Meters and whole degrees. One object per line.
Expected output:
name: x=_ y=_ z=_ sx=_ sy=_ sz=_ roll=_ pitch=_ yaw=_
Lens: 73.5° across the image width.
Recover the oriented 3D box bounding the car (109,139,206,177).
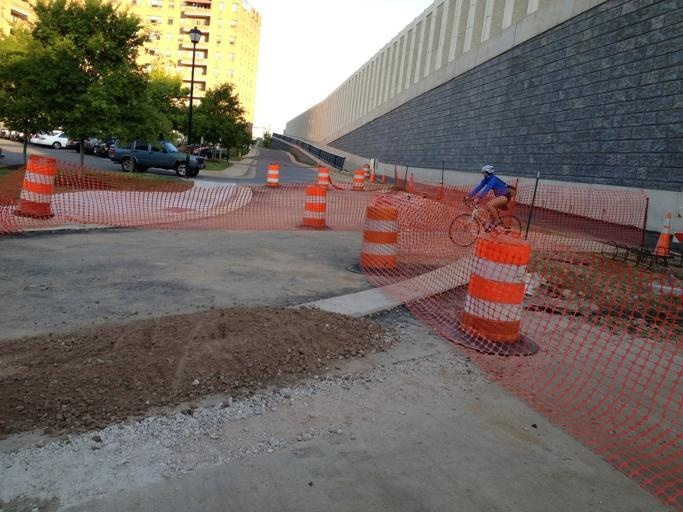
car: x=-10.432 y=-5.570 z=26.028 sx=4.934 sy=1.969 sz=2.995 roll=4 pitch=9 yaw=-10

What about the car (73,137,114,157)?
car: x=-19.214 y=-8.334 z=35.102 sx=5.246 sy=1.410 sz=1.658 roll=13 pitch=12 yaw=43

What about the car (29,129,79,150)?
car: x=-22.798 y=-9.217 z=36.261 sx=2.542 sy=1.539 sz=3.904 roll=-1 pitch=11 yaw=-36

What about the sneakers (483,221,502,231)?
sneakers: x=3.882 y=-0.707 z=11.842 sx=0.457 sy=0.159 sz=0.266 roll=6 pitch=31 yaw=23

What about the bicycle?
bicycle: x=3.828 y=-0.892 z=12.035 sx=0.544 sy=1.041 sz=2.014 roll=-4 pitch=4 yaw=-39
